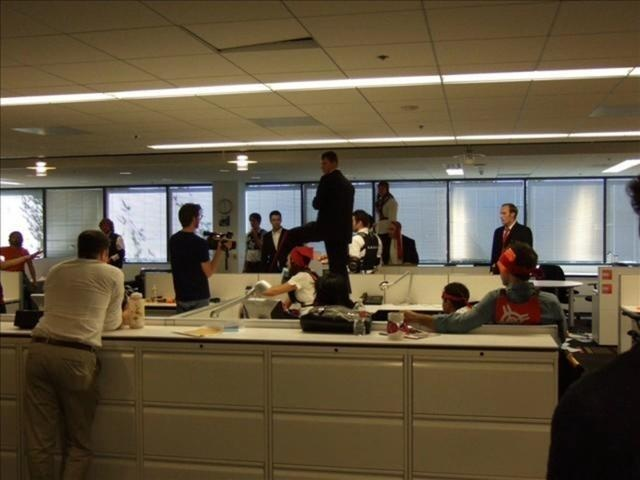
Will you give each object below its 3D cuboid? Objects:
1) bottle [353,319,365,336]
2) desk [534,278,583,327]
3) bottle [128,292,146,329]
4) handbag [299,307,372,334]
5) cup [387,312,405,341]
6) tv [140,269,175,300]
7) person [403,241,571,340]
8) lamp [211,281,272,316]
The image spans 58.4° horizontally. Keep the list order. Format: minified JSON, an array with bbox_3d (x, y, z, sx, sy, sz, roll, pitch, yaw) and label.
[{"bbox_3d":[0.257,0.570,3.714,0.097,0.138,0.080,7,-11,-42],"label":"bottle"},{"bbox_3d":[4.182,1.068,9.868,0.517,0.392,0.493,30,-21,-34],"label":"desk"},{"bbox_3d":[-1.321,0.492,4.116,0.115,0.246,0.251,-5,9,-20],"label":"bottle"},{"bbox_3d":[0.085,0.534,3.805,0.290,0.110,0.227,2,-1,11],"label":"handbag"},{"bbox_3d":[0.478,0.536,3.587,0.096,0.157,0.161,1,1,21],"label":"cup"},{"bbox_3d":[-2.141,0.584,7.720,0.552,0.562,0.385,0,0,6],"label":"tv"},{"bbox_3d":[1.139,0.509,4.233,0.796,0.818,1.247,11,-12,-35],"label":"person"},{"bbox_3d":[-0.651,0.466,4.699,0.493,0.193,0.090,-11,12,-39],"label":"lamp"}]
